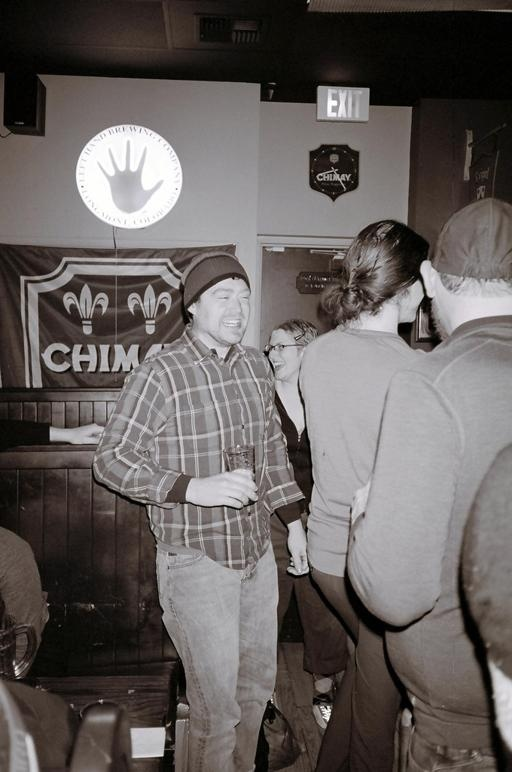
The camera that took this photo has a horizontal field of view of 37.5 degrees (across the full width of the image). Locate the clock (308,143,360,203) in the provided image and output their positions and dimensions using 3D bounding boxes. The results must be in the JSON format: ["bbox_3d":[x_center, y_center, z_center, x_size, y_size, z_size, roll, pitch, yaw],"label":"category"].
[{"bbox_3d":[0.516,-1.462,5.092,0.376,0.432,0.058,-1,6,-5],"label":"clock"}]

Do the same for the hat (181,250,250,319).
[{"bbox_3d":[-0.127,-0.344,2.465,0.172,0.157,0.202,8,29,25],"label":"hat"}]

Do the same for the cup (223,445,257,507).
[{"bbox_3d":[-0.033,0.248,2.194,0.092,0.143,0.093,-1,2,0],"label":"cup"}]
